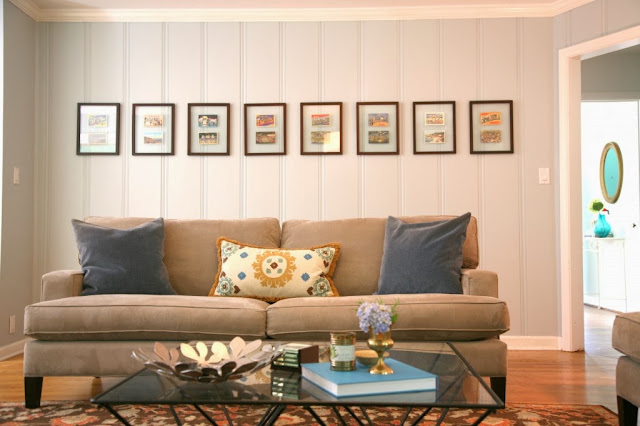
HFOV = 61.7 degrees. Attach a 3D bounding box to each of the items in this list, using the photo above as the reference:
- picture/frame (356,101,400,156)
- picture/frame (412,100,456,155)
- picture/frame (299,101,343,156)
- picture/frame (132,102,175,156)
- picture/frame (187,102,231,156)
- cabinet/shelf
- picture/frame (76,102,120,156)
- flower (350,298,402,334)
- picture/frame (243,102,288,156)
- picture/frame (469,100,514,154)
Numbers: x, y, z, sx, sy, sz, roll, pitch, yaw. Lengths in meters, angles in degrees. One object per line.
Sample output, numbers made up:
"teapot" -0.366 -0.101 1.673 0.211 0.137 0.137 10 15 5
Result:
"picture/frame" 0.585 -0.833 5.218 0.473 0.506 0.016 6 12 35
"picture/frame" 1.135 -0.815 5.198 0.604 0.661 0.032 0 -2 -1
"picture/frame" 0.018 -0.810 5.222 0.598 0.652 0.032 0 2 0
"picture/frame" -1.648 -0.797 5.225 0.593 0.627 0.029 0 -2 -4
"picture/frame" -1.102 -0.800 5.223 0.595 0.624 0.045 0 -1 -3
"cabinet/shelf" 3.699 0.764 6.825 0.397 0.900 1.103 -2 -4 17
"picture/frame" -2.197 -0.810 5.218 0.593 0.622 0.026 0 2 0
"flower" 0.305 0.531 2.872 0.238 0.143 0.210 1 -3 14
"picture/frame" -0.538 -0.800 5.227 0.591 0.622 0.032 1 -1 -2
"picture/frame" 1.690 -0.815 5.172 0.597 0.680 0.027 -1 -1 0
